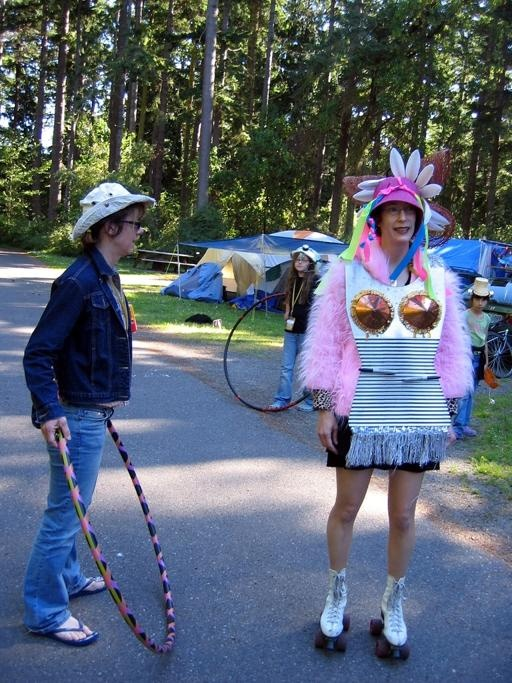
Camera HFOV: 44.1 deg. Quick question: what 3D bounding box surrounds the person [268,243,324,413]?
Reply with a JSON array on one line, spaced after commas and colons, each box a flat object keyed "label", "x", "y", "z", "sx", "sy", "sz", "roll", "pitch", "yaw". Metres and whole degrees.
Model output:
[{"label": "person", "x": 0.609, "y": -0.221, "z": 7.427, "sx": 0.725, "sy": 1.645, "sz": 0.791, "roll": 1, "pitch": 2, "yaw": 29}]

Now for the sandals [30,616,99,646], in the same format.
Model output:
[{"label": "sandals", "x": -0.784, "y": 1.178, "z": 2.608, "sx": 0.231, "sy": 0.051, "sz": 0.116, "roll": 4, "pitch": 8, "yaw": 4}]

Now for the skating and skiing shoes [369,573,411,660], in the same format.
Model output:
[{"label": "skating and skiing shoes", "x": 0.623, "y": 1.181, "z": 2.701, "sx": 0.183, "sy": 0.253, "sz": 0.343, "roll": 5, "pitch": 5, "yaw": 3}]

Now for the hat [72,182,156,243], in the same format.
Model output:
[{"label": "hat", "x": -0.613, "y": -0.546, "z": 2.591, "sx": 0.335, "sy": 0.124, "sz": 0.266, "roll": -31, "pitch": 0, "yaw": -3}]

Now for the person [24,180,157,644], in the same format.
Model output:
[{"label": "person", "x": -0.713, "y": 0.295, "z": 2.591, "sx": 0.413, "sy": 1.909, "sz": 0.617, "roll": 6, "pitch": 9, "yaw": -7}]

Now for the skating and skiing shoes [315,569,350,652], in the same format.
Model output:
[{"label": "skating and skiing shoes", "x": 0.347, "y": 1.156, "z": 2.735, "sx": 0.175, "sy": 0.265, "sz": 0.305, "roll": 4, "pitch": 0, "yaw": 12}]

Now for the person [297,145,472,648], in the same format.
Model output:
[{"label": "person", "x": 0.554, "y": 0.246, "z": 2.648, "sx": 0.755, "sy": 2.105, "sz": 0.471, "roll": 7, "pitch": 9, "yaw": 2}]
